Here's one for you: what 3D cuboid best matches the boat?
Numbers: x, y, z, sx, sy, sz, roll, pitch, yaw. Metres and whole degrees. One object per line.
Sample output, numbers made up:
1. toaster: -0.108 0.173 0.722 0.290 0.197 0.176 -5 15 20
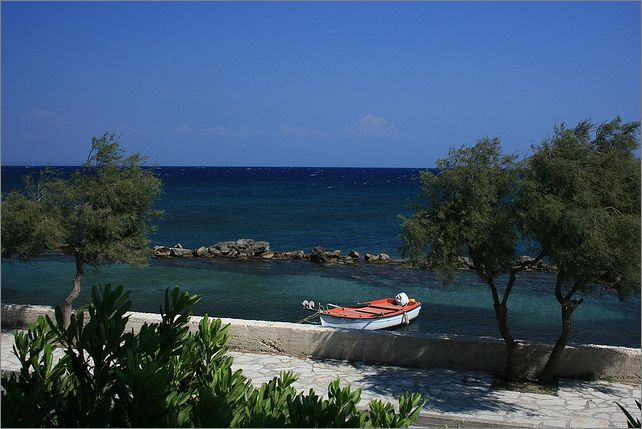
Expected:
1. boat: 2.501 4.693 23.749 5.481 1.572 2.308 0 4 -45
